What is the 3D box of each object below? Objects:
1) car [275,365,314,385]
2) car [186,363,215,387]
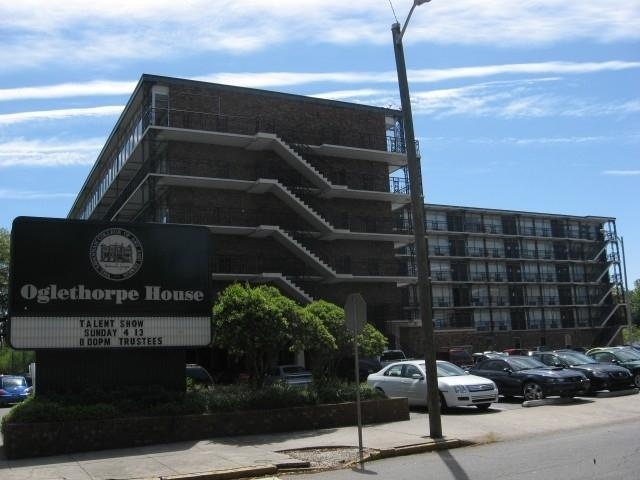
[{"bbox_3d":[-1.047,6.421,33.009,1.340,0.726,2.709,2,-3,-25],"label":"car"},{"bbox_3d":[-5.128,5.725,29.495,1.006,0.831,2.835,-2,-10,-10],"label":"car"}]
